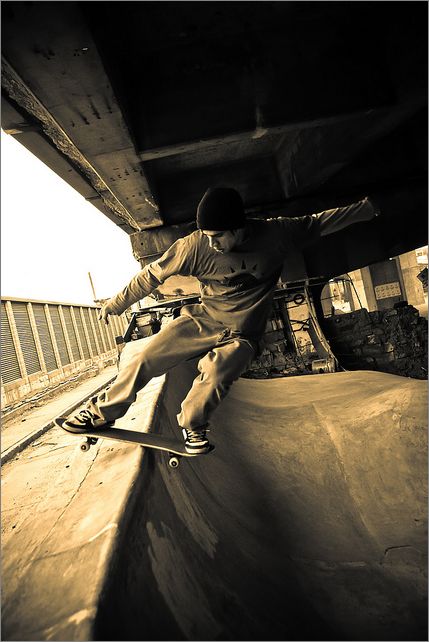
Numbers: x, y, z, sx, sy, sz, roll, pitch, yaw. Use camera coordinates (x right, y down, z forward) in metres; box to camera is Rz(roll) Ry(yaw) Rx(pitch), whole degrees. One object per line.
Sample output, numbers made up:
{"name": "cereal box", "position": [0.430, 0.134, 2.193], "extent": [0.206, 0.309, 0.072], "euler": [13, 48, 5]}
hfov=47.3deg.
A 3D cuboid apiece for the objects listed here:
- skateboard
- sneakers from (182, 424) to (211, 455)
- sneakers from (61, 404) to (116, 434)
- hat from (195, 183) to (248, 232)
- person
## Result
{"name": "skateboard", "position": [-0.413, 0.622, 2.696], "extent": [0.756, 0.142, 0.198], "euler": [6, -1, 21]}
{"name": "sneakers", "position": [-0.090, 0.553, 2.441], "extent": [0.130, 0.122, 0.114], "euler": [-5, 1, -6]}
{"name": "sneakers", "position": [-0.693, 0.500, 2.667], "extent": [0.276, 0.141, 0.104], "euler": [15, 2, -23]}
{"name": "hat", "position": [0.036, -0.590, 2.480], "extent": [0.218, 0.231, 0.246], "euler": [5, 16, 5]}
{"name": "person", "position": [0.013, -0.052, 2.721], "extent": [1.189, 1.920, 0.558], "euler": [14, 27, -4]}
